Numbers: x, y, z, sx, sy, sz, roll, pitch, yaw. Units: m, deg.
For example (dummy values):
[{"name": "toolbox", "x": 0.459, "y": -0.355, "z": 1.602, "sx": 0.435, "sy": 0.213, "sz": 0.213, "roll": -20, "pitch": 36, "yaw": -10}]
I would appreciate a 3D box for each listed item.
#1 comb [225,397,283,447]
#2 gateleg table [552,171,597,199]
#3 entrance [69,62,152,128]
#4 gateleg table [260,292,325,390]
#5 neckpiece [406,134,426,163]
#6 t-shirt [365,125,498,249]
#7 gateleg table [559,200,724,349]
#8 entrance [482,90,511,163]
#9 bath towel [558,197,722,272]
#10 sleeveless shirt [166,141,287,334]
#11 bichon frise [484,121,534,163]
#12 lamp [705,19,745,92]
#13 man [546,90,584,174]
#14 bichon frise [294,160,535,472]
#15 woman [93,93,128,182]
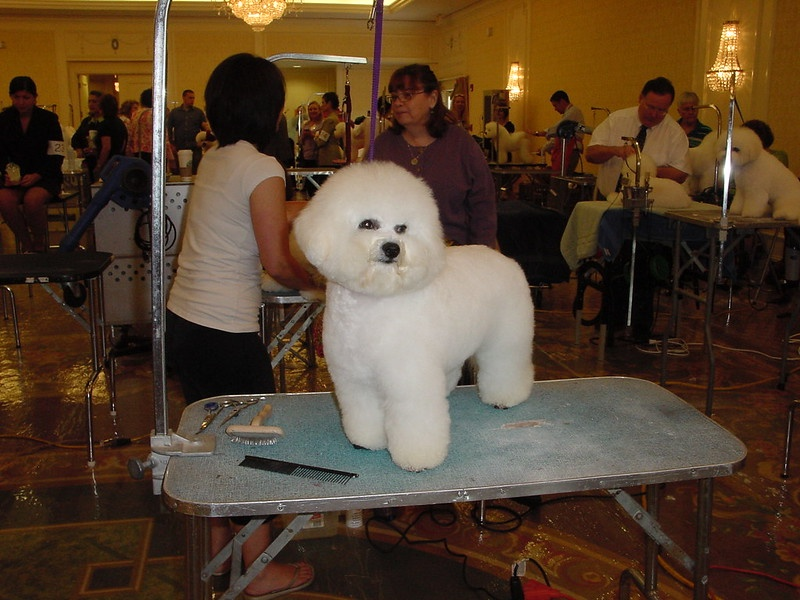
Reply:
[{"name": "comb", "x": -0.446, "y": 0.392, "z": 2.168, "sx": 0.165, "sy": 0.064, "sz": 0.256, "roll": 4, "pitch": 7, "yaw": -3}, {"name": "gateleg table", "x": 2.156, "y": -1.528, "z": 8.634, "sx": 0.406, "sy": 0.239, "sz": 0.573, "roll": -7, "pitch": 18, "yaw": -21}, {"name": "entrance", "x": -6.088, "y": -4.347, "z": 15.056, "sx": 2.060, "sy": 1.416, "sz": 0.218, "roll": -4, "pitch": 15, "yaw": -10}, {"name": "gateleg table", "x": -0.703, "y": 0.142, "z": 3.873, "sx": 0.413, "sy": 0.419, "sz": 0.660, "roll": -1, "pitch": 5, "yaw": -22}, {"name": "neckpiece", "x": 0.054, "y": -0.672, "z": 3.069, "sx": 0.085, "sy": 0.083, "sz": 0.033, "roll": 7, "pitch": 6, "yaw": 14}, {"name": "t-shirt", "x": 0.123, "y": -0.434, "z": 2.620, "sx": 0.551, "sy": 0.437, "sz": 0.300, "roll": 7, "pitch": 29, "yaw": 19}, {"name": "gateleg table", "x": 1.763, "y": -0.246, "z": 5.320, "sx": 1.079, "sy": 0.881, "sz": 1.085, "roll": 7, "pitch": 18, "yaw": 38}, {"name": "entrance", "x": 1.701, "y": -3.088, "z": 12.145, "sx": 0.575, "sy": 1.297, "sz": 0.150, "roll": 13, "pitch": 26, "yaw": 38}, {"name": "bath towel", "x": 1.555, "y": -0.506, "z": 5.100, "sx": 0.639, "sy": 0.351, "sz": 0.671, "roll": -3, "pitch": 21, "yaw": -8}, {"name": "sleeveless shirt", "x": -0.616, "y": -0.269, "z": 2.577, "sx": 0.466, "sy": 0.582, "sz": 0.307, "roll": 15, "pitch": 12, "yaw": 31}, {"name": "bichon frise", "x": 1.745, "y": -2.562, "z": 11.229, "sx": 0.863, "sy": 0.662, "sz": 0.296, "roll": -2, "pitch": 15, "yaw": -15}, {"name": "lamp", "x": 3.662, "y": -2.754, "z": 7.685, "sx": 0.404, "sy": 0.821, "sz": 0.749, "roll": 6, "pitch": 13, "yaw": 23}, {"name": "man", "x": 2.294, "y": -2.450, "z": 9.624, "sx": 0.516, "sy": 1.249, "sz": 3.676, "roll": 4, "pitch": 13, "yaw": 13}, {"name": "bichon frise", "x": 0.074, "y": 0.003, "z": 2.189, "sx": 0.483, "sy": 0.855, "sz": 0.801, "roll": 17, "pitch": 27, "yaw": 42}, {"name": "woman", "x": -3.738, "y": -2.107, "z": 8.771, "sx": 0.407, "sy": 1.055, "sz": 0.738, "roll": -4, "pitch": 13, "yaw": -23}]
